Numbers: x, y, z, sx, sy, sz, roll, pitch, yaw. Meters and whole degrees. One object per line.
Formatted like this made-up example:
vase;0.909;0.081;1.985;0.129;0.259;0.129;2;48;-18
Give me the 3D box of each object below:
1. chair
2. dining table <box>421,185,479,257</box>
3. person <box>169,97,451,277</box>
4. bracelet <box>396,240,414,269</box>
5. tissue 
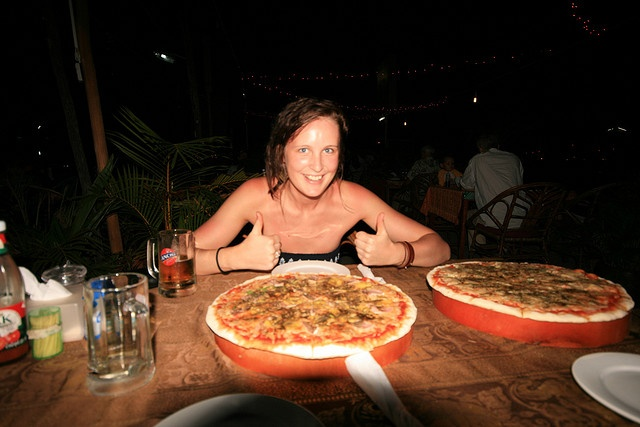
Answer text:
chair;2.521;0.089;5.091;0.725;1.086;0.791;-10;30;-3
dining table;2.063;-0.019;6.504;1.093;0.671;0.770;6;-5;-7
person;-0.070;0.041;2.908;1.960;1.487;1.018;-2;23;-9
bracelet;0.572;0.277;2.551;0.064;0.143;0.130;4;7;-28
tissue ;-1.183;0.408;1.931;0.340;0.320;0.335;1;9;-12
